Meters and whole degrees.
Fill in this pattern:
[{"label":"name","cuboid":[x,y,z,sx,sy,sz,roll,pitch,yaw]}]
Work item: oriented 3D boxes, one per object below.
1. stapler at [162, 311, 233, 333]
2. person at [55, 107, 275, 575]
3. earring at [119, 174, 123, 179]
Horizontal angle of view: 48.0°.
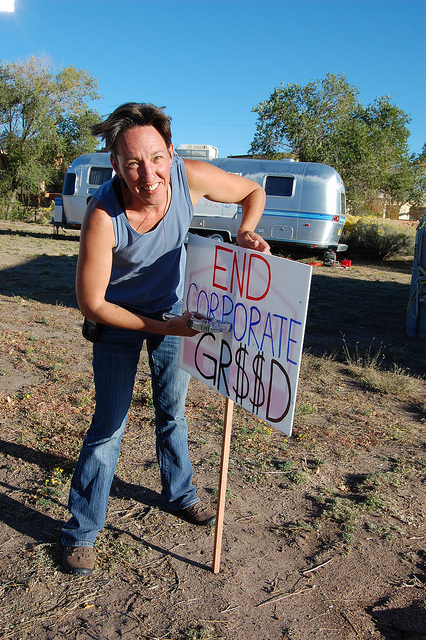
[{"label":"stapler","cuboid":[-0.017,0.020,1.883,0.118,0.093,0.269,13,13,28]},{"label":"person","cuboid":[-0.278,0.149,2.168,0.734,1.931,0.852,7,11,3]},{"label":"earring","cuboid":[-0.342,-0.526,1.765,0.006,0.020,0.022,-2,6,-27]}]
